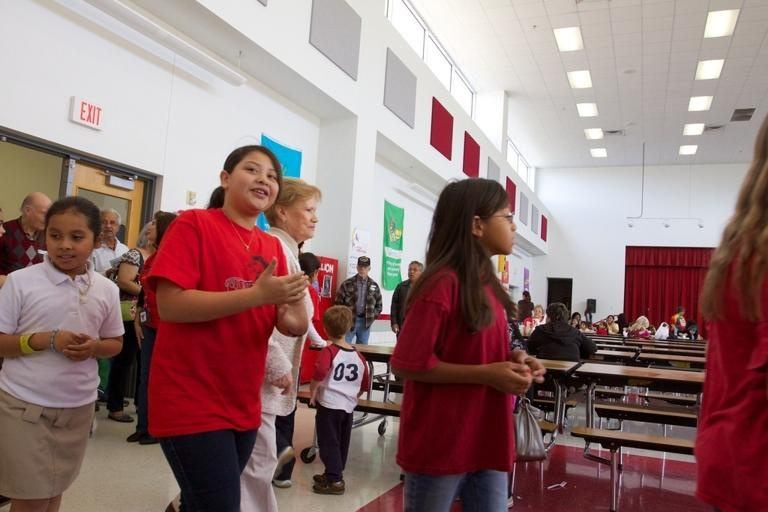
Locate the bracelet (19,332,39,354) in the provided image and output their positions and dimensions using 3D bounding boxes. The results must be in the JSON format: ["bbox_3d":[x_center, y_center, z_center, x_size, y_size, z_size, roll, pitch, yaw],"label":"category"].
[{"bbox_3d":[-1.485,0.369,1.983,0.060,0.052,0.077,-1,3,-41],"label":"bracelet"}]

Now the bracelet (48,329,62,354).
[{"bbox_3d":[-1.400,0.364,2.012,0.031,0.098,0.052,7,-4,-34],"label":"bracelet"}]
